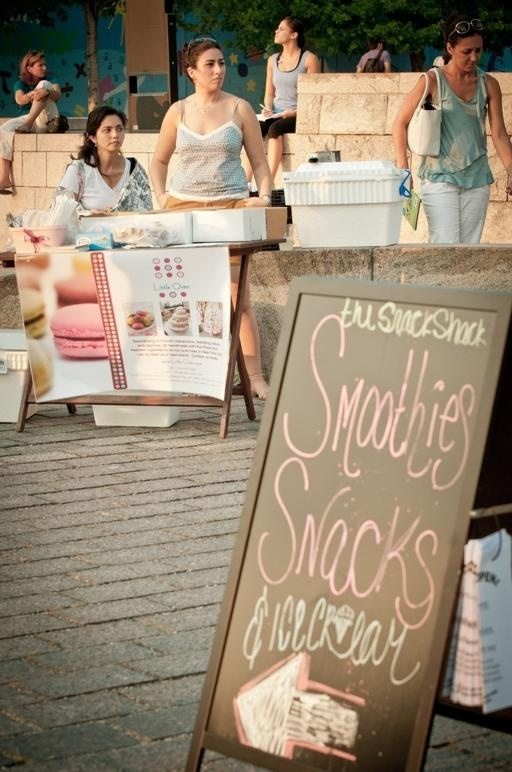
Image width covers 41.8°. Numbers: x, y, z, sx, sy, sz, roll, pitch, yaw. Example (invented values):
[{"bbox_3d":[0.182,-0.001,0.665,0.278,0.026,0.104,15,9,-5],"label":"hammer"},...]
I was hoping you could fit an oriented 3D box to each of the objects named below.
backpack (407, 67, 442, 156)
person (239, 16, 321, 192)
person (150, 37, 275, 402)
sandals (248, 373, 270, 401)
[{"bbox_3d":[1.032,-1.652,4.097,0.207,0.482,0.151,1,12,13],"label":"backpack"},{"bbox_3d":[0.255,-3.619,8.595,0.698,1.929,1.082,19,30,34],"label":"person"},{"bbox_3d":[-0.250,-1.039,4.475,0.762,2.230,0.728,0,21,1],"label":"person"},{"bbox_3d":[0.019,0.019,4.361,0.076,0.104,0.233,-4,8,-17],"label":"sandals"}]
